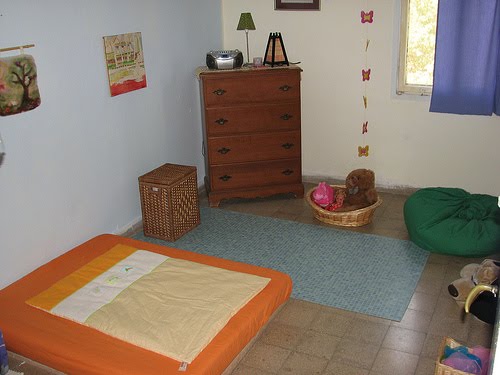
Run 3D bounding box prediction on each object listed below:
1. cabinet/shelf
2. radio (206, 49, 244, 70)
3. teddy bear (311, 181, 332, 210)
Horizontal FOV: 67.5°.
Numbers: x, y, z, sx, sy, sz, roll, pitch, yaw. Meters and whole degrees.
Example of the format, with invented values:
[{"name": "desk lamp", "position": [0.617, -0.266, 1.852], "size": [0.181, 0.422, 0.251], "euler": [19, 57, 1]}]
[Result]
[{"name": "cabinet/shelf", "position": [0.016, -0.603, 4.303], "size": [1.419, 1.861, 0.975], "euler": [-5, 23, -8]}, {"name": "radio", "position": [-0.285, -1.422, 4.212], "size": [0.403, 0.186, 0.185], "euler": [-6, 24, -11]}, {"name": "teddy bear", "position": [0.796, 0.086, 4.112], "size": [0.245, 0.306, 0.257], "euler": [4, 13, 41]}]
